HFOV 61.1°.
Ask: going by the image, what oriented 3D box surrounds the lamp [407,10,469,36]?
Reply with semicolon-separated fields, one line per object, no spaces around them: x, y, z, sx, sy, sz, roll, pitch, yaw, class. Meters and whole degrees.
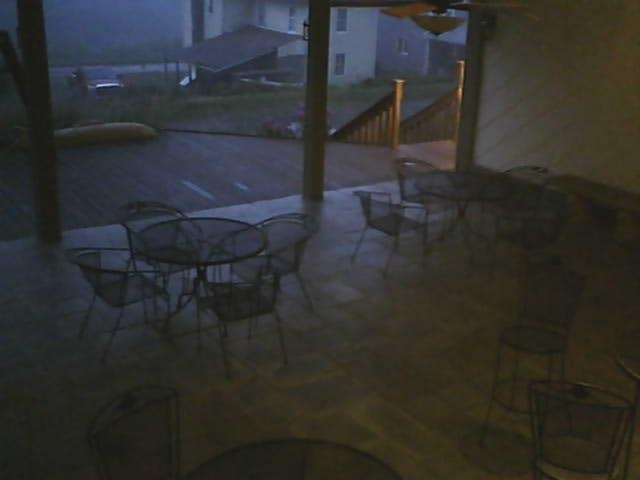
1.780;-3.325;8.326;1.084;0.340;0.182;-21;34;-36;lamp
